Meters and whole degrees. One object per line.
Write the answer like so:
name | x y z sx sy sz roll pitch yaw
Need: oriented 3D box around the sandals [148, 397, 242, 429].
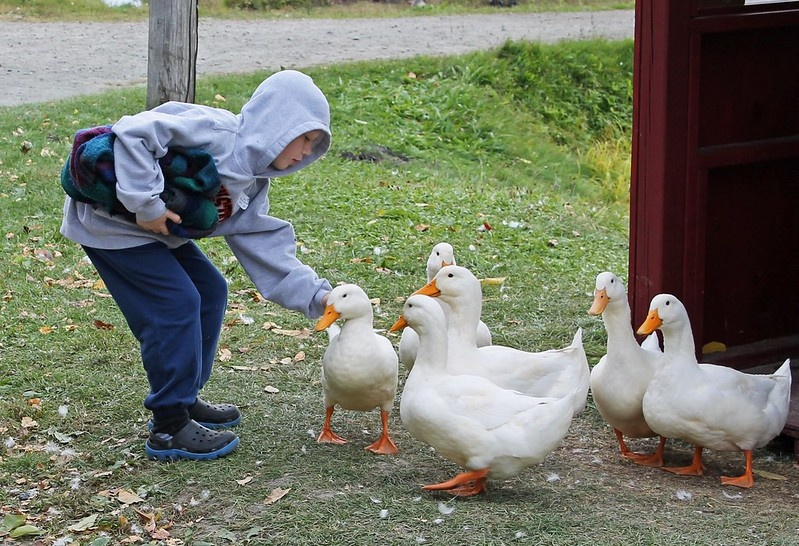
sandals | -1.523 1.052 9.415 0.664 0.204 0.249 -3 13 -8

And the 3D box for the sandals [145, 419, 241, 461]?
sandals | -1.481 1.197 9.040 0.644 0.207 0.269 -2 7 -7

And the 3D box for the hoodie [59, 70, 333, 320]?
hoodie | -0.839 -0.670 9.442 2.535 1.738 1.367 14 5 -1
